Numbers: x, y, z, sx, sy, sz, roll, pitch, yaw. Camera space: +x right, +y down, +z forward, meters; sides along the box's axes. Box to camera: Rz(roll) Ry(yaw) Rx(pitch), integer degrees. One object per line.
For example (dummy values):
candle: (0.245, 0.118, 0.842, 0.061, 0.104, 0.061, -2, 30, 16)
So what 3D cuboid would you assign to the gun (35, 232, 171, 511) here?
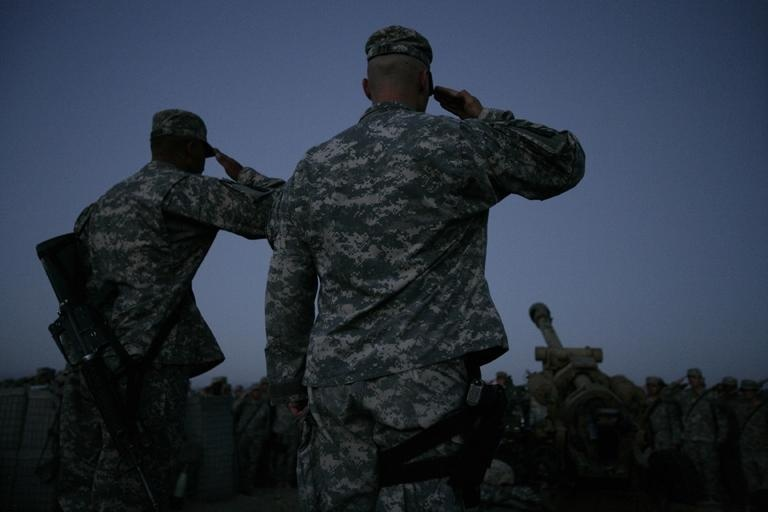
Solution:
gun: (-2.355, 0.951, 6.886, 0.980, 2.299, 0.276, -2, -12, -2)
